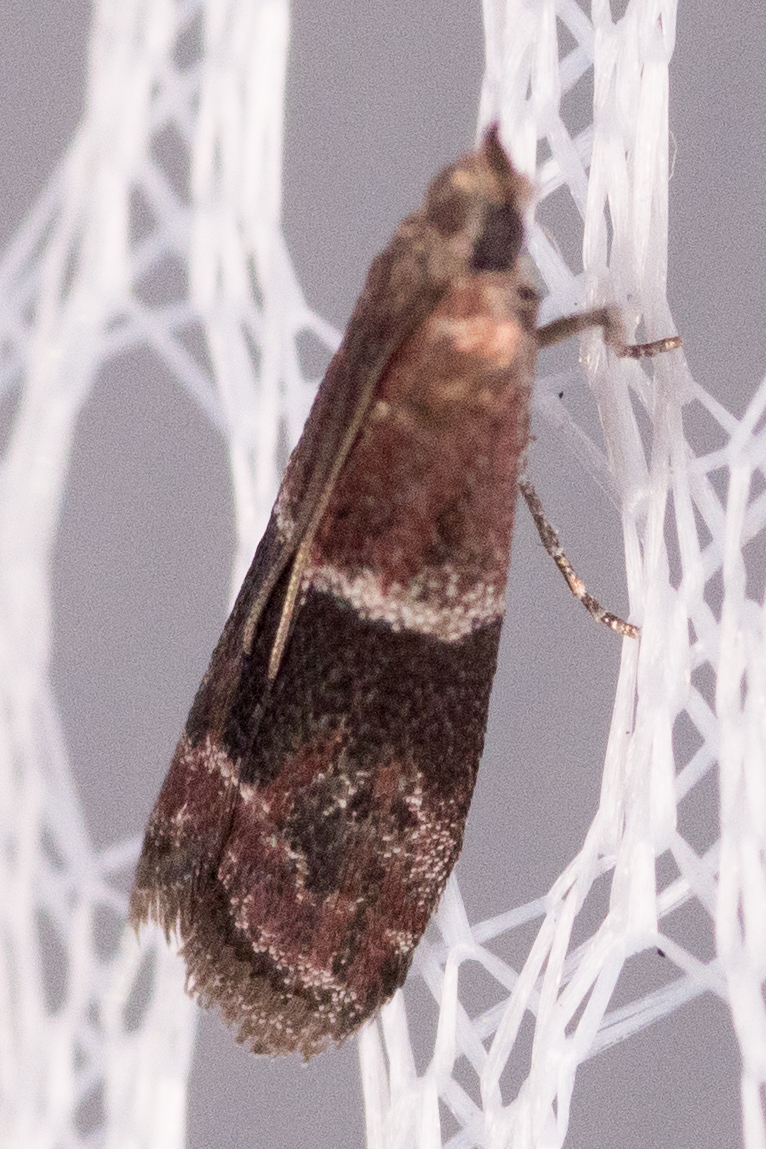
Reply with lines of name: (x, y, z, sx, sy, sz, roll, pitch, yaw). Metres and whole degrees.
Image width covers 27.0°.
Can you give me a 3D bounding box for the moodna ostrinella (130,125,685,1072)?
moodna ostrinella: (0.034, 0.017, 0.865, 0.128, 0.213, 0.441, 15, -84, -28)
